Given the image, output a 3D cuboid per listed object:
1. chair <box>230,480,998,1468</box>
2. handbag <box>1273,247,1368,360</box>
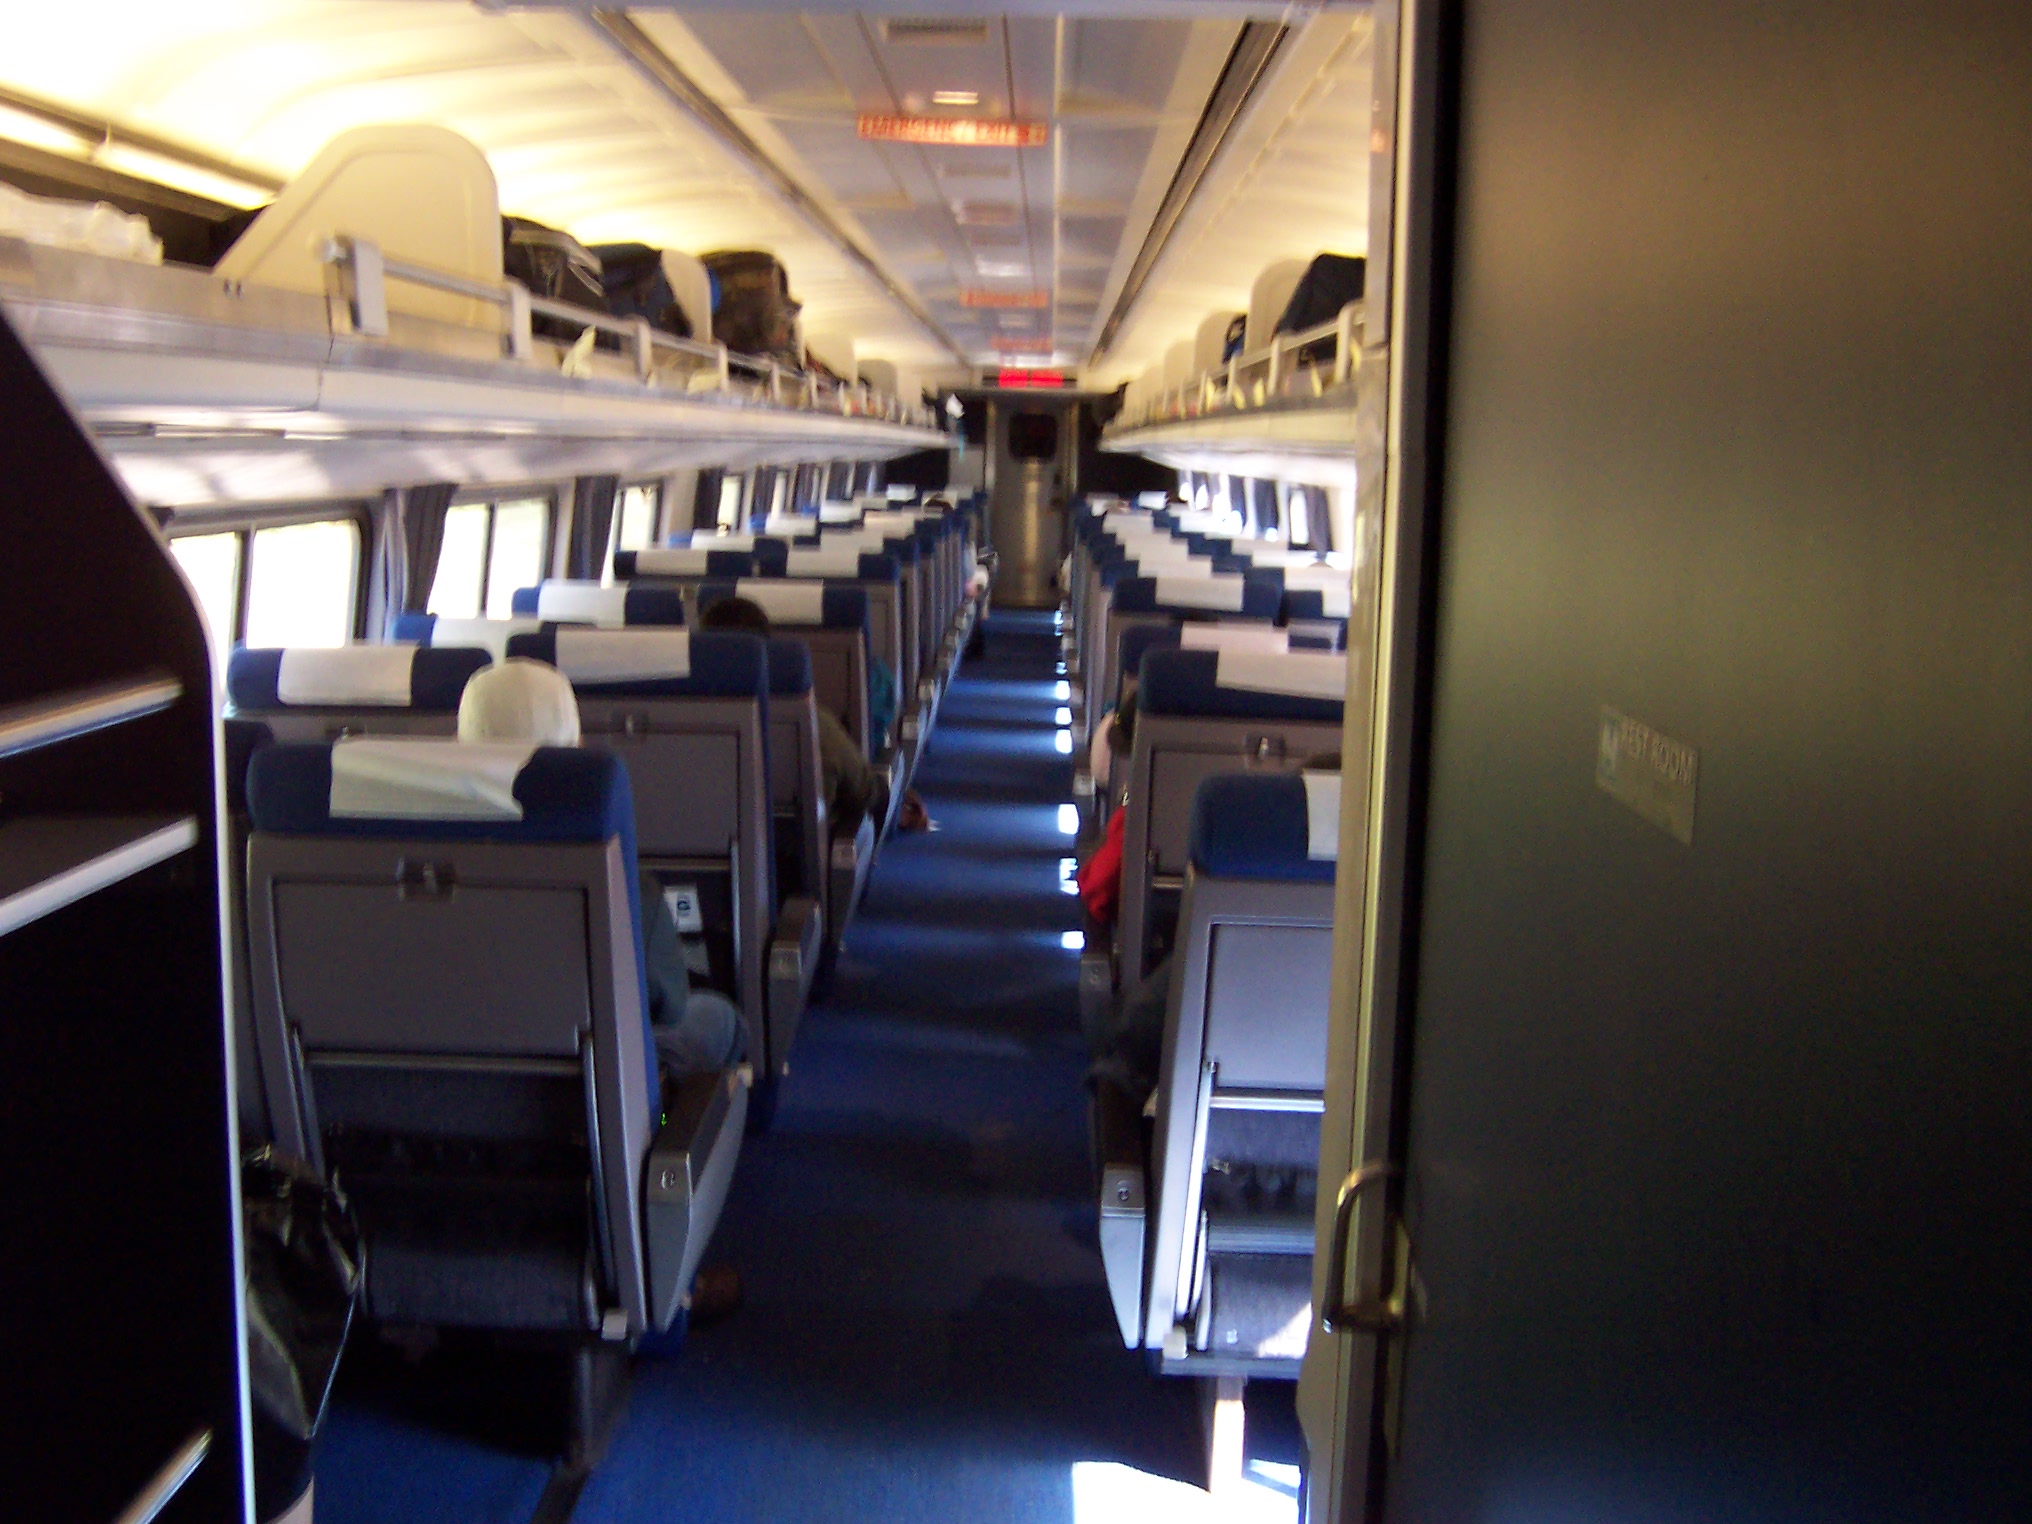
[{"bbox_3d":[-0.839,0.465,4.060,1.121,1.566,1.986,1,5,3],"label":"chair"},{"bbox_3d":[1.415,-2.184,7.067,0.325,0.349,0.560,3,13,7],"label":"handbag"}]
